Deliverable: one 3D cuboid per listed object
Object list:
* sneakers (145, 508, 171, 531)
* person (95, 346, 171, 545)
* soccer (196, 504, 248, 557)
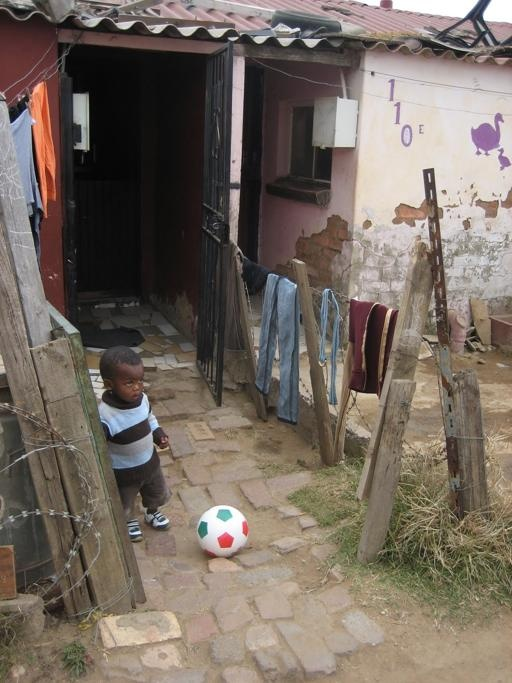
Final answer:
[{"bbox_3d":[-0.611,1.105,3.430,0.173,0.078,0.083,15,17,40],"label":"sneakers"},{"bbox_3d":[-0.657,0.602,2.989,0.291,1.168,0.589,3,5,4],"label":"person"},{"bbox_3d":[-0.183,1.064,3.016,0.262,0.261,0.153,3,5,-5],"label":"soccer"}]
